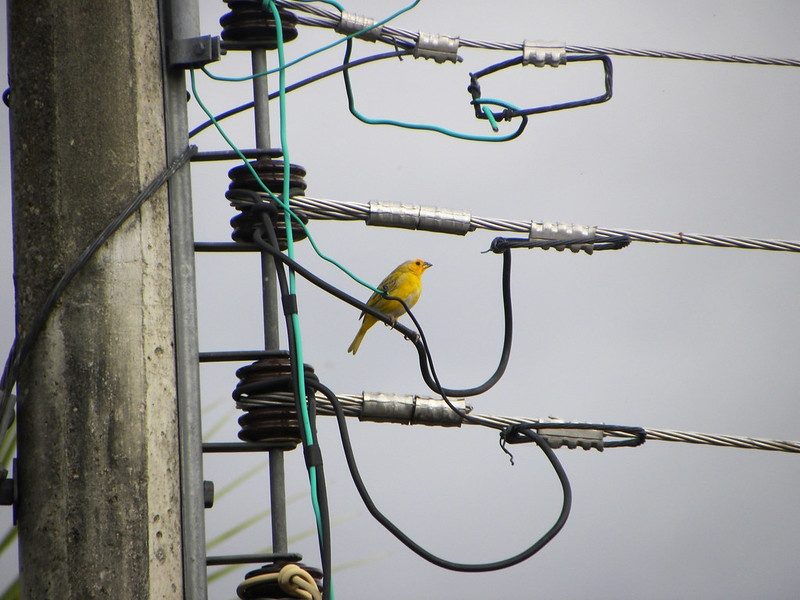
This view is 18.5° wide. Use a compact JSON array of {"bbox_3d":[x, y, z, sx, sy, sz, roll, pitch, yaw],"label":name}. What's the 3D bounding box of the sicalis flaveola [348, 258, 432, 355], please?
[{"bbox_3d":[-0.044,0.025,10.515,0.486,0.256,0.163,-24,-34,31],"label":"sicalis flaveola"}]
